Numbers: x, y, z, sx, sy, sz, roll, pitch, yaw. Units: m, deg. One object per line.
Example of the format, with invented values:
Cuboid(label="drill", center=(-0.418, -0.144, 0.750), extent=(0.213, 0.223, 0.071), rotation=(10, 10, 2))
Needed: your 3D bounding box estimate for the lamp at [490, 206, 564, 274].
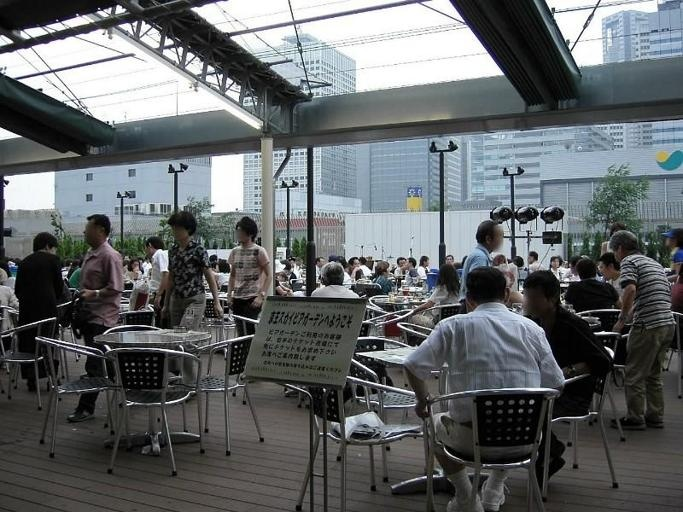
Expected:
Cuboid(label="lamp", center=(5.169, -0.491, 16.903), extent=(2.043, 2.398, 0.904), rotation=(-3, -5, 24))

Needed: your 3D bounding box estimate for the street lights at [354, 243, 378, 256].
Cuboid(label="street lights", center=(1.103, -0.280, 27.875), extent=(0.627, 0.422, 0.647), rotation=(-1, 4, -10))

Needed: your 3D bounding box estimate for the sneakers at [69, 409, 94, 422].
Cuboid(label="sneakers", center=(-2.897, 1.771, 6.817), extent=(0.100, 0.109, 0.264), rotation=(-3, -16, 15))

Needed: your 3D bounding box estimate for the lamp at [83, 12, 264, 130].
Cuboid(label="lamp", center=(-3.089, -3.547, 11.573), extent=(0.269, 0.469, 3.334), rotation=(34, -1, 37))
